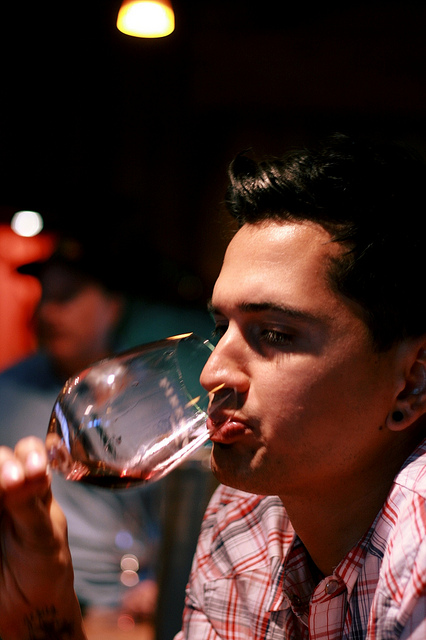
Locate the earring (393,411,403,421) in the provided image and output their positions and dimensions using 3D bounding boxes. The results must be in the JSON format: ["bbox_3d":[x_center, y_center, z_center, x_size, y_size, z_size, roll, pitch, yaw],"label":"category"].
[{"bbox_3d":[0.342,0.180,1.167,0.015,0.005,0.015,-31,91,5],"label":"earring"}]

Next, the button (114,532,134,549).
[{"bbox_3d":[-0.243,0.608,1.732,0.055,0.014,0.049,6,47,6],"label":"button"}]
